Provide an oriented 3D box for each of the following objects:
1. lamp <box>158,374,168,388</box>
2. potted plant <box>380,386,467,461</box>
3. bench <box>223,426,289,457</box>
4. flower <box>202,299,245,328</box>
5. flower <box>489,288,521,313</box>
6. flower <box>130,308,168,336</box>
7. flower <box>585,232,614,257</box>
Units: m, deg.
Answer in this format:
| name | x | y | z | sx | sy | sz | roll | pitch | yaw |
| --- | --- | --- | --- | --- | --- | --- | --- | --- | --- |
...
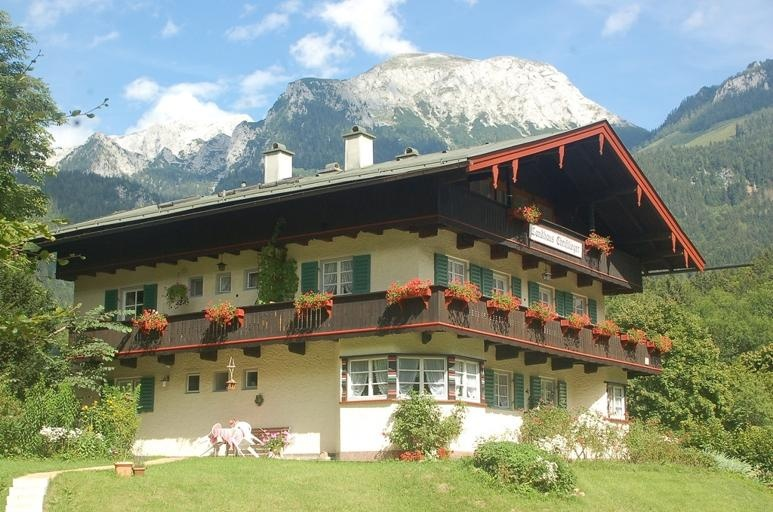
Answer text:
| name | x | y | z | sx | sy | sz | roll | pitch | yaw |
| --- | --- | --- | --- | --- | --- | --- | --- | --- | --- |
| lamp | -10.982 | 6.122 | 53.345 | 0.516 | 0.564 | 0.526 | 3 | -13 | -12 |
| potted plant | 1.551 | 7.423 | 47.331 | 3.231 | 2.804 | 1.260 | 2 | 3 | -5 |
| bench | -5.520 | 8.492 | 49.822 | 2.136 | 1.263 | 0.949 | 4 | 4 | 24 |
| flower | -7.420 | 2.588 | 50.057 | 1.332 | 0.936 | 1.353 | 0 | -6 | 27 |
| flower | 5.235 | 2.140 | 48.977 | 0.492 | 0.808 | 1.931 | 5 | 4 | 42 |
| flower | -11.301 | 3.268 | 52.046 | 1.927 | 1.049 | 0.493 | 5 | 4 | 37 |
| flower | 10.666 | -0.593 | 54.728 | 0.649 | 1.235 | 2.329 | 5 | 4 | 37 |
